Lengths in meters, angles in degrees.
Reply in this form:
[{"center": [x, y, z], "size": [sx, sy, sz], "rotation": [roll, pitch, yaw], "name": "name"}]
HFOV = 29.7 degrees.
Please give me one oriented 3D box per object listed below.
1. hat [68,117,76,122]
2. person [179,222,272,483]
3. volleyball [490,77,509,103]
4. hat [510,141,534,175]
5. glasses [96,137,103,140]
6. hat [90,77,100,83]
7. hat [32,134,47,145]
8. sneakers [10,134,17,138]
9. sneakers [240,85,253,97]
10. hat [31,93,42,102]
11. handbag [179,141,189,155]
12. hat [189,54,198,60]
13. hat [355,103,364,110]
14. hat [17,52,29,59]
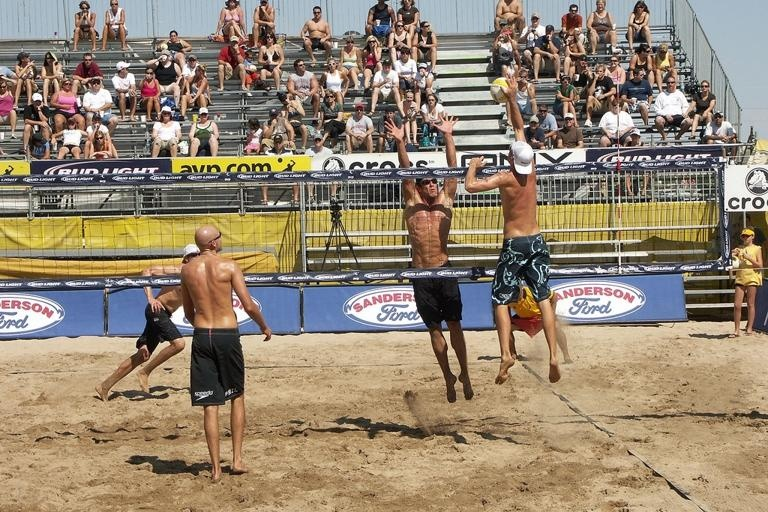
[{"center": [-6.612, -2.866, 31.066], "size": [0.172, 0.111, 0.128], "rotation": [-5, 8, -25], "name": "hat"}, {"center": [-2.549, 1.485, 22.657], "size": [1.112, 3.824, 0.865], "rotation": [4, 9, 38], "name": "person"}, {"center": [1.938, -2.745, 23.791], "size": [0.346, 0.422, 0.365], "rotation": [8, 45, 10], "name": "volleyball"}, {"center": [2.242, -1.541, 23.158], "size": [0.331, 0.525, 0.196], "rotation": [-5, 1, -10], "name": "hat"}, {"center": [-5.934, -2.451, 30.612], "size": [0.141, 0.065, 0.052], "rotation": [-3, 7, -12], "name": "glasses"}, {"center": [-6.295, -3.856, 32.089], "size": [0.201, 0.132, 0.136], "rotation": [-3, 7, -10], "name": "hat"}, {"center": [-7.266, -2.485, 30.927], "size": [0.304, 0.216, 0.285], "rotation": [-4, 8, -18], "name": "hat"}, {"center": [-8.079, -2.622, 31.984], "size": [0.109, 0.117, 0.253], "rotation": [-3, 8, -11], "name": "sneakers"}, {"center": [-3.065, -3.735, 32.970], "size": [0.139, 0.181, 0.413], "rotation": [-11, 23, -21], "name": "sneakers"}, {"center": [-7.442, -3.403, 31.393], "size": [0.212, 0.133, 0.346], "rotation": [0, 13, -20], "name": "hat"}, {"center": [-4.219, -2.289, 31.000], "size": [0.210, 0.267, 0.109], "rotation": [1, -11, -12], "name": "handbag"}, {"center": [-4.216, -4.416, 32.562], "size": [0.123, 0.184, 0.180], "rotation": [1, 5, 1], "name": "hat"}, {"center": [-0.483, -3.177, 31.123], "size": [0.207, 0.107, 0.311], "rotation": [0, -1, 1], "name": "hat"}, {"center": [-8.057, -4.476, 32.716], "size": [0.227, 0.193, 0.263], "rotation": [-2, 3, -3], "name": "hat"}]
